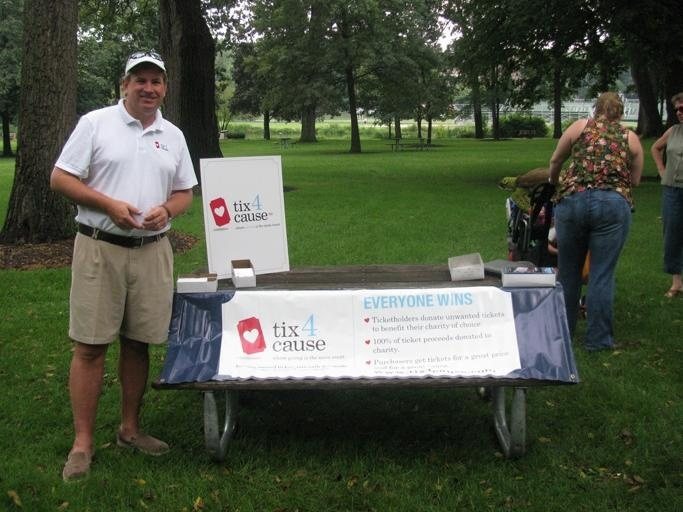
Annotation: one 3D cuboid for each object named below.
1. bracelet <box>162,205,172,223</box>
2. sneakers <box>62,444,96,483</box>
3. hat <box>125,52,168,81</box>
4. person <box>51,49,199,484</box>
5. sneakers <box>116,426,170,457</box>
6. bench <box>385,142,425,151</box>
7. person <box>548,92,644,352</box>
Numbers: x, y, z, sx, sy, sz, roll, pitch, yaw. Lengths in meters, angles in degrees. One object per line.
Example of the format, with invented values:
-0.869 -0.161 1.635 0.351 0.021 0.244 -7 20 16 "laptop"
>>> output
-1.339 -0.333 5.050 0.088 0.088 0.089 38 42 21 "bracelet"
-2.013 1.572 5.008 0.230 0.185 0.219 -4 10 -26 "sneakers"
-1.508 -1.468 5.022 0.287 0.221 0.302 -3 9 -19 "hat"
-1.689 0.035 5.085 1.001 3.191 0.545 -2 8 -15 "person"
-1.601 1.500 5.297 0.379 0.165 0.188 8 7 6 "sneakers"
4.772 -8.302 49.803 2.060 0.615 9.738 1 9 4 "bench"
2.634 -0.394 6.943 0.855 2.733 0.863 4 -12 30 "person"
